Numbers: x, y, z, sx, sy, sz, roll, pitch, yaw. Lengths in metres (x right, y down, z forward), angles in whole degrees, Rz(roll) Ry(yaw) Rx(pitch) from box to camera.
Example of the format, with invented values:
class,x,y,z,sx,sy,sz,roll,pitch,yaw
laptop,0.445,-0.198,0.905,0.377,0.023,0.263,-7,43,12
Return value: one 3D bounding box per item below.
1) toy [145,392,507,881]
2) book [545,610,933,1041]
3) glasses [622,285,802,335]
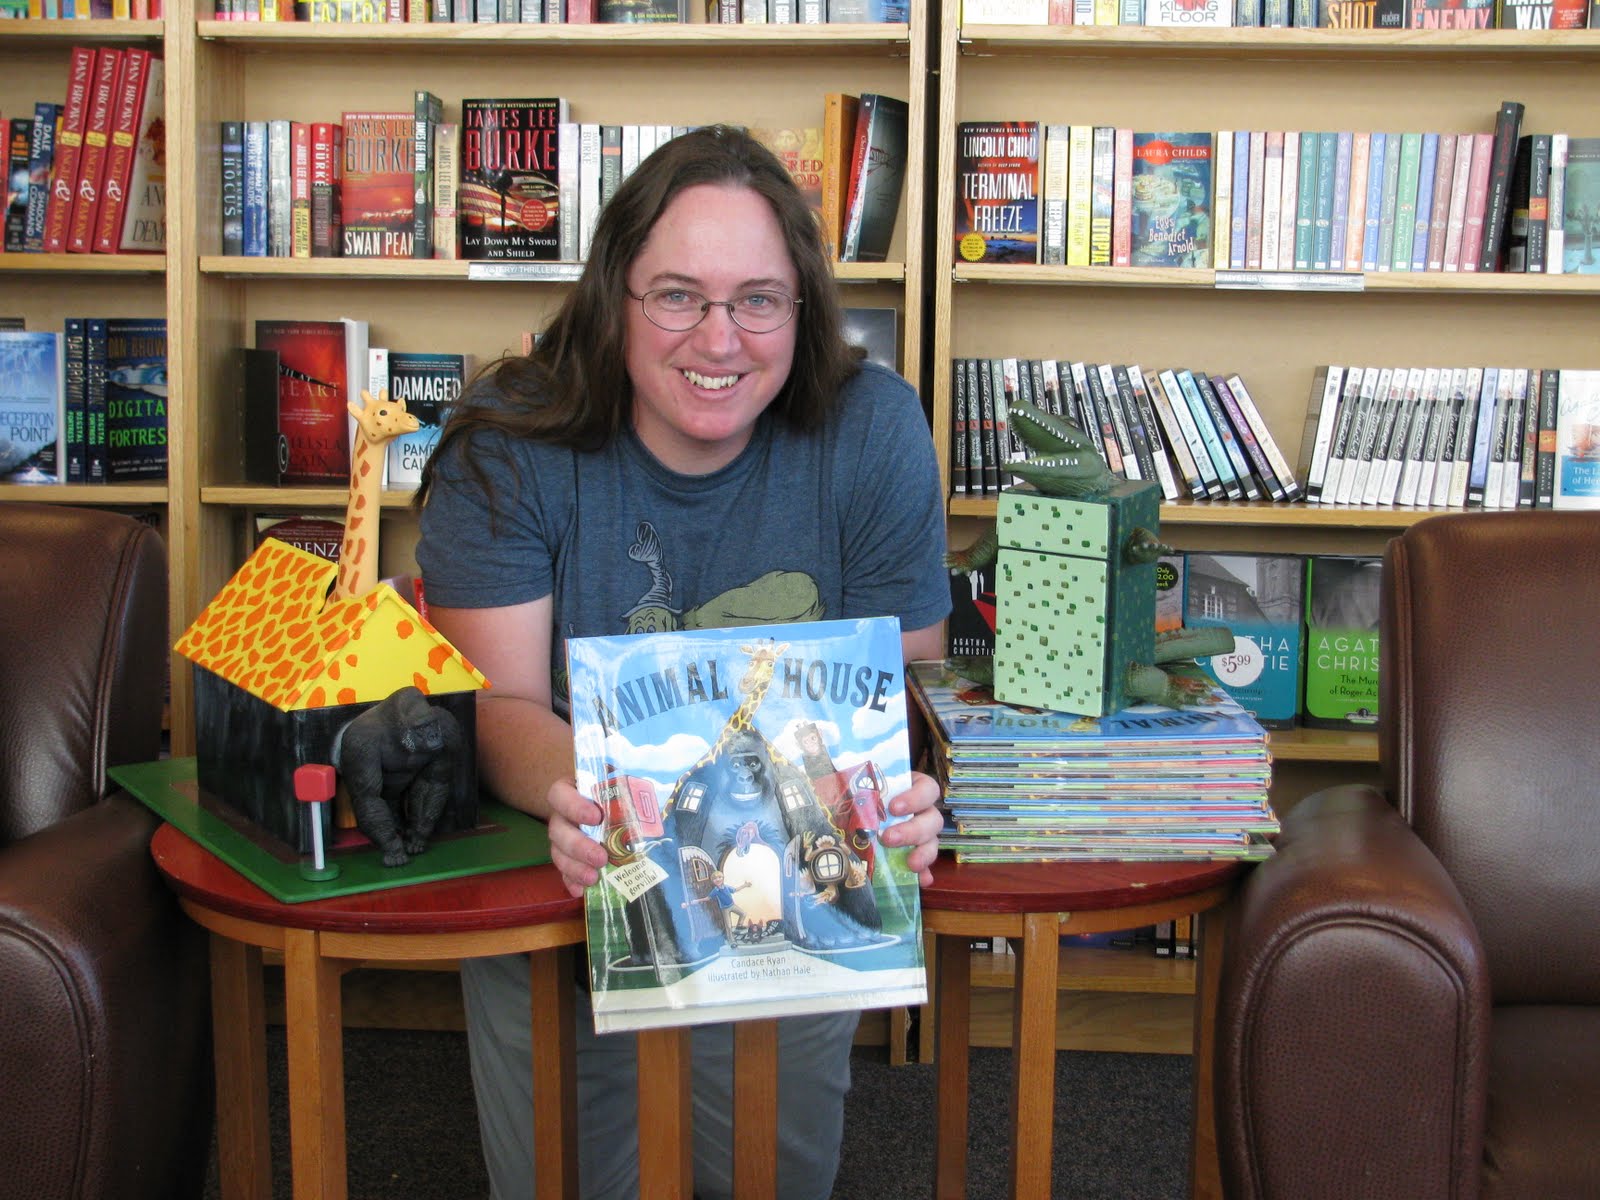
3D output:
class,x,y,z,sx,sy,sz,roll,pitch,yaw
toy,-0.542,0.011,1.583,0.297,0.492,0.454,-4,8,-29
book,-0.052,0.214,1.355,0.343,0.376,0.124,-1,7,-8
glasses,-0.099,-0.332,1.581,0.178,0.054,0.043,0,7,-3
